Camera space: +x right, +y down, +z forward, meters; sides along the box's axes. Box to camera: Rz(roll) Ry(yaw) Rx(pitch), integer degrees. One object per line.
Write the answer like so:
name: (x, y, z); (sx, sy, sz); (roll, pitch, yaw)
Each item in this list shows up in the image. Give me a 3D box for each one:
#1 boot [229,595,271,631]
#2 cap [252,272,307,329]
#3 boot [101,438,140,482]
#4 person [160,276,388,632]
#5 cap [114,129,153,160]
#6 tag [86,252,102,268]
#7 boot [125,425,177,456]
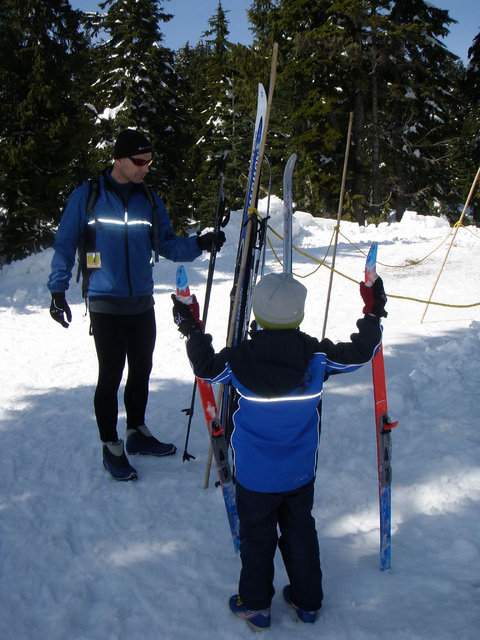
boot: (0.045, 1.210, 2.549); (0.076, 0.094, 0.200); (-1, 19, -42)
cap: (0.160, -0.083, 2.472); (0.216, 0.218, 0.210); (-2, 14, 0)
boot: (-0.710, 0.817, 3.490); (0.185, 0.185, 0.484); (0, 2, 6)
person: (0.153, 0.530, 2.537); (0.877, 1.421, 0.543); (1, 14, 13)
cap: (-0.571, -0.914, 3.195); (0.174, 0.135, 0.174); (-17, 17, -12)
tag: (-0.799, -0.327, 3.273); (0.082, 0.081, 0.079); (3, 23, -1)
boot: (-0.525, 0.765, 3.804); (0.384, 0.238, 0.141); (0, 1, -2)
